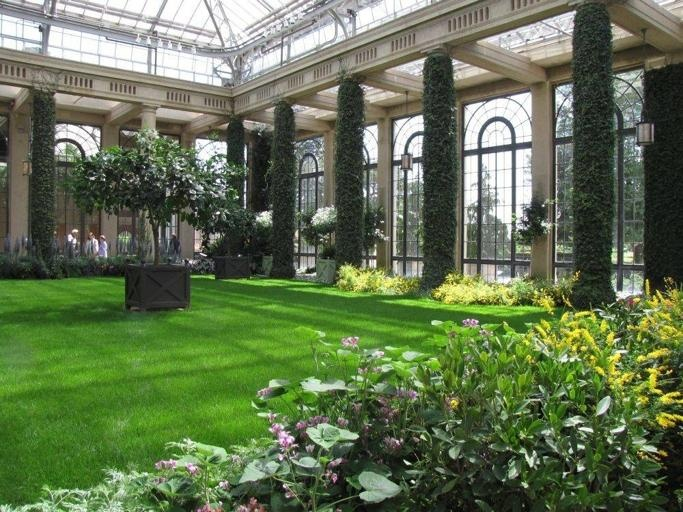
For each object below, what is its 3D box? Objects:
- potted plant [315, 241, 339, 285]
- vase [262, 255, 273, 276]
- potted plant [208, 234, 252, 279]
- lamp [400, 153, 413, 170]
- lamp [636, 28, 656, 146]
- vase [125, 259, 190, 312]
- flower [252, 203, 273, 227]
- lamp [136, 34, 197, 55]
[{"bbox_3d":[-0.619,0.178,17.758,0.645,1.047,0.687,5,-3,1],"label":"potted plant"},{"bbox_3d":[-2.429,0.329,19.500,0.245,0.567,1.782,2,0,-11],"label":"vase"},{"bbox_3d":[-3.254,-0.018,17.568,0.974,1.394,1.013,-1,4,29],"label":"potted plant"},{"bbox_3d":[1.764,-2.556,16.090,0.253,0.345,0.602,2,0,2],"label":"lamp"},{"bbox_3d":[6.109,-3.237,11.976,0.330,2.149,1.345,1,-1,27],"label":"lamp"},{"bbox_3d":[-3.178,0.518,10.166,0.826,0.717,0.830,2,-3,-38],"label":"vase"},{"bbox_3d":[-2.702,-1.376,20.495,0.666,0.452,0.738,0,11,1],"label":"flower"},{"bbox_3d":[-5.744,-6.964,19.617,1.896,0.551,0.539,2,-1,-34],"label":"lamp"}]
